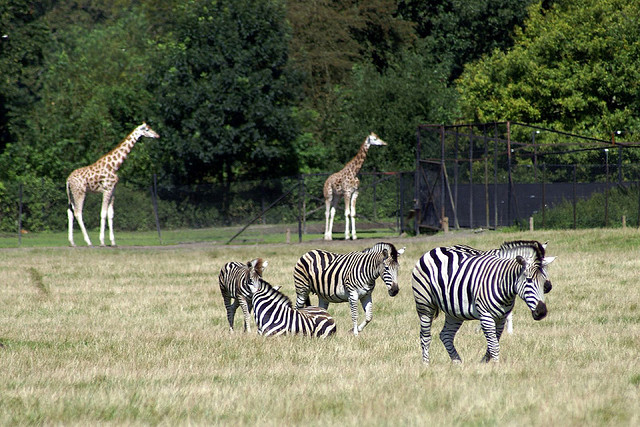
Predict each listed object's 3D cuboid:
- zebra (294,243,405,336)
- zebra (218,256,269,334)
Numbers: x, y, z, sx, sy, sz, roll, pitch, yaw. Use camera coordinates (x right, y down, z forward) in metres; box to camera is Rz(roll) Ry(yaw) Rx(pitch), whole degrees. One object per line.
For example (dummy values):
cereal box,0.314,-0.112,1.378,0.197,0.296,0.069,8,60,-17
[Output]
zebra,1.156,3.579,75.442,5.859,4.938,1.841,4,1,39
zebra,-3.634,3.966,75.037,1.243,3.904,4.884,-3,9,-23
